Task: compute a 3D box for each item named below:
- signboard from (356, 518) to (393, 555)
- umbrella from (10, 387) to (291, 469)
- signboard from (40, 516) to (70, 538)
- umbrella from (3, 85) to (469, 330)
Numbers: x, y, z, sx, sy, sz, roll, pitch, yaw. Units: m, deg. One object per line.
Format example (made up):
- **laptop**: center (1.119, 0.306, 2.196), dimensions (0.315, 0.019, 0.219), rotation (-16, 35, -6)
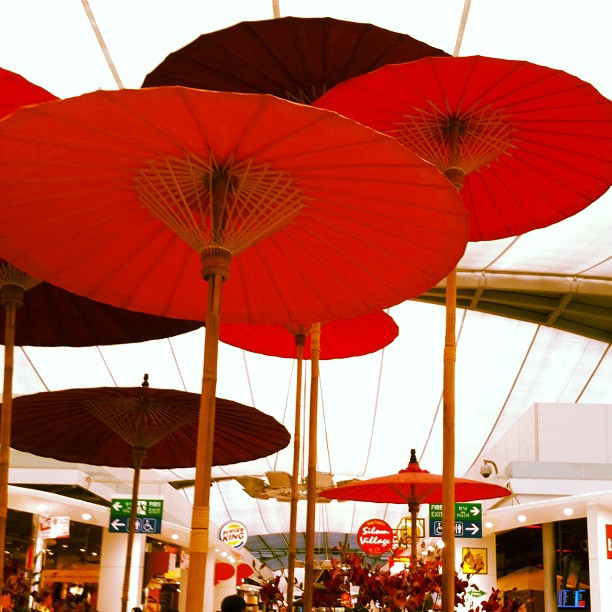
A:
- **signboard**: center (1.871, 5.940, 23.396), dimensions (0.835, 0.926, 1.314), rotation (2, -19, -2)
- **umbrella**: center (-1.647, 1.248, 9.227), dimensions (1.955, 0.733, 1.624), rotation (-8, -25, 15)
- **signboard**: center (-5.799, 5.001, 20.483), dimensions (0.801, 0.431, 0.092), rotation (-4, -38, 2)
- **umbrella**: center (-0.461, -0.297, 4.874), dimensions (2.495, 0.911, 2.000), rotation (10, -21, -26)
